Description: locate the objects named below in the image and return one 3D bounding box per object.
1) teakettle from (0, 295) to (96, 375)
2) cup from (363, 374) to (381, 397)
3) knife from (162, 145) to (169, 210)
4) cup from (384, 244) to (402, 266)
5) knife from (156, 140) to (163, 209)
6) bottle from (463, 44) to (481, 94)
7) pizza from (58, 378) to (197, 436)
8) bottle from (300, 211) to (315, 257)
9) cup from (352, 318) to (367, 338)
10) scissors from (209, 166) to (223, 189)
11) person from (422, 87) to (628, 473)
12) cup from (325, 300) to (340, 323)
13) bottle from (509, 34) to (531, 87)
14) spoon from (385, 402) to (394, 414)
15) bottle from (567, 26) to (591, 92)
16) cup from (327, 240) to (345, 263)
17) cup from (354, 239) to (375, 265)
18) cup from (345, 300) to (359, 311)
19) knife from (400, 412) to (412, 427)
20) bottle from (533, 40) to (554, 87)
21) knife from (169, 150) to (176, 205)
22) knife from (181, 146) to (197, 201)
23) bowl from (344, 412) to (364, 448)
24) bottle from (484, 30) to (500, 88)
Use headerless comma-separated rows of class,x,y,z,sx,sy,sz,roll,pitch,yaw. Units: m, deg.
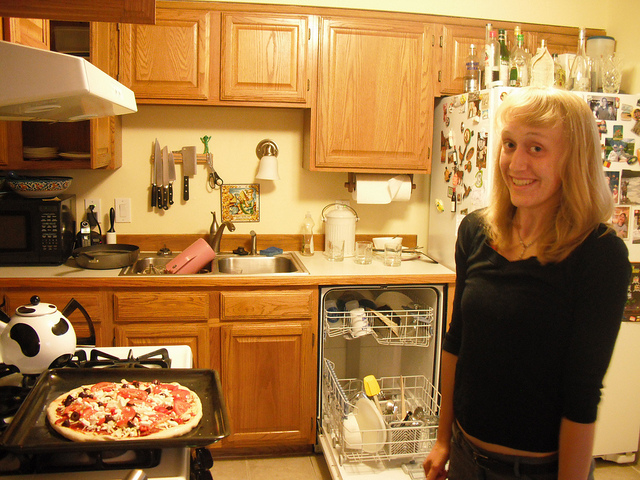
teakettle,-0.805,0.291,1.681,0.332,0.236,0.223,7,6,-10
cup,0.255,0.721,2.666,0.069,0.125,0.167,0,6,5
knife,-0.900,-0.368,3.168,0.043,0.313,0.014,2,8,-2
cup,0.409,0.083,3.038,0.091,0.117,0.116,1,6,7
knife,-0.922,-0.375,3.176,0.044,0.325,0.035,2,10,3
bottle,0.832,-0.937,2.962,0.087,0.294,0.219,2,7,14
pizza,-0.509,0.446,1.458,0.349,0.060,0.260,-2,6,-23
bottle,-0.073,-0.037,3.270,0.088,0.262,0.178,0,6,-1
cup,0.206,0.450,2.863,0.070,0.089,0.089,1,-10,2
scissors,-0.618,-0.361,3.250,0.063,0.113,0.028,-12,4,13
person,0.591,0.167,1.578,0.524,1.179,0.250,5,8,35
cup,0.065,0.376,2.872,0.067,0.106,0.106,-11,-3,4
bottle,1.026,-0.904,2.778,0.102,0.281,0.281,2,7,20
spoon,0.352,0.846,2.718,0.038,0.041,0.046,1,6,8
bottle,1.338,-0.913,2.773,0.105,0.346,0.248,5,8,37
cup,0.094,0.065,3.127,0.117,0.132,0.113,1,7,0
cup,0.259,0.070,3.146,0.118,0.130,0.149,1,1,-1
cup,0.172,0.348,2.902,0.050,0.038,0.050,0,26,0
knife,0.434,0.887,2.689,0.054,0.040,0.053,-10,-3,-29
bottle,1.122,-0.891,2.720,0.100,0.275,0.301,2,7,21
knife,-0.862,-0.356,3.183,0.041,0.298,0.074,-2,7,-12
knife,-0.756,-0.378,3.179,0.094,0.336,0.022,-1,1,13
bowl,0.159,0.912,2.603,0.099,0.048,0.177,-4,33,-10
bottle,0.890,-0.920,2.762,0.110,0.265,0.071,-3,7,-21
